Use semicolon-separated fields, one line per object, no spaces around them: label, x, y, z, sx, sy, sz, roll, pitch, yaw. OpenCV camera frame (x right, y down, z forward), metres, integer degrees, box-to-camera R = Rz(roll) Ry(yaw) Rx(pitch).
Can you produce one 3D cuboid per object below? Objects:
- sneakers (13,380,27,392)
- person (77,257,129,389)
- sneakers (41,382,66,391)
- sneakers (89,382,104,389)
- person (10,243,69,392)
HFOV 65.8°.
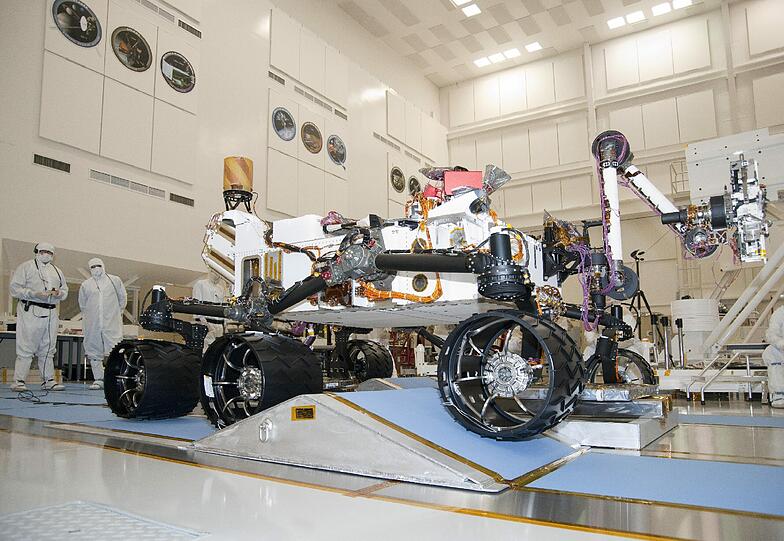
sneakers;-5.326;1.638;8.606;0.167;0.197;0.446;5;-13;-40
person;-4.680;0.760;9.714;0.667;1.893;0.342;0;-1;-29
sneakers;-5.033;1.686;8.898;0.401;0.170;0.166;-3;-9;24
sneakers;-4.596;1.754;9.312;0.128;0.132;0.301;2;-12;-15
person;-5.408;0.635;9.172;0.734;2.167;0.931;0;-1;-27
